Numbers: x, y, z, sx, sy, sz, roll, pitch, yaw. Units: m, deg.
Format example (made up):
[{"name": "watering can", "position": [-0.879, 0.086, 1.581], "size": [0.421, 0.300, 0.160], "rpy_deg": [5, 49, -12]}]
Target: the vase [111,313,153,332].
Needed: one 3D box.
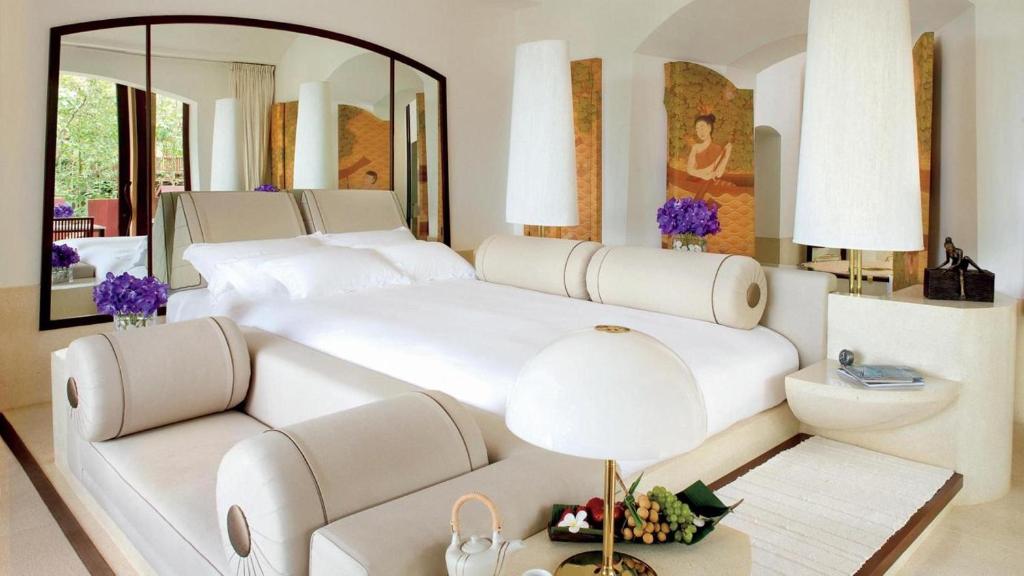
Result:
[{"name": "vase", "position": [-2.539, 0.231, 4.350], "size": [0.122, 0.124, 0.124], "rpy_deg": [1, 4, 3]}]

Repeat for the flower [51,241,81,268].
[{"name": "flower", "position": [-3.657, -0.266, 5.295], "size": [0.162, 0.184, 0.182], "rpy_deg": [11, 8, 41]}]

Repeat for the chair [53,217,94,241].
[{"name": "chair", "position": [-3.617, -0.494, 5.333], "size": [0.161, 0.142, 0.218], "rpy_deg": [-5, 12, -42]}]

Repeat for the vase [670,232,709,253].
[{"name": "vase", "position": [1.578, -0.412, 5.873], "size": [0.338, 0.244, 0.341], "rpy_deg": [2, 5, 44]}]

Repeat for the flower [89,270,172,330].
[{"name": "flower", "position": [-2.618, 0.043, 4.468], "size": [0.436, 0.442, 0.430], "rpy_deg": [-7, 14, -35]}]

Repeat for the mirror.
[{"name": "mirror", "position": [-2.409, -0.995, 5.502], "size": [3.203, 2.276, 0.082], "rpy_deg": [0, -1, -39]}]

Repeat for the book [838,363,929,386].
[{"name": "book", "position": [2.377, 0.560, 4.132], "size": [0.508, 0.097, 0.199], "rpy_deg": [0, 7, 2]}]
